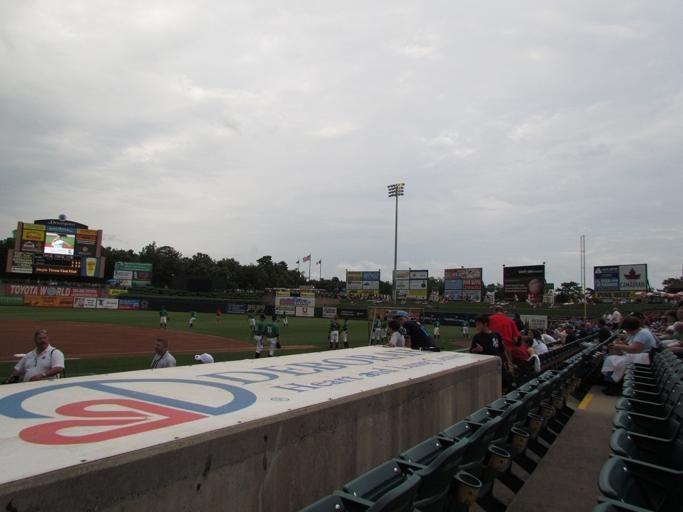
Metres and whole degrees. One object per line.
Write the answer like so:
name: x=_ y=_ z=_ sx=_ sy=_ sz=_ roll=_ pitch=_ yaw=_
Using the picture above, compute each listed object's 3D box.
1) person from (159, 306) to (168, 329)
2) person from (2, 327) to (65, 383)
person: x=-11.300 y=3.848 z=29.375 sx=0.365 sy=1.211 sz=1.851 roll=0 pitch=-4 yaw=-18
person: x=-4.664 y=1.513 z=7.068 sx=0.884 sy=0.756 sz=0.510 roll=-3 pitch=-5 yaw=34
